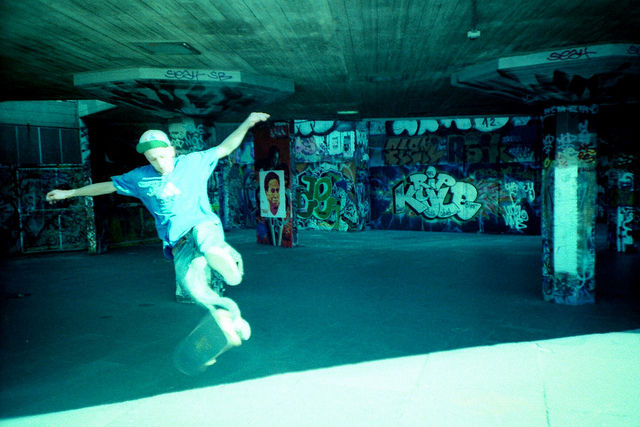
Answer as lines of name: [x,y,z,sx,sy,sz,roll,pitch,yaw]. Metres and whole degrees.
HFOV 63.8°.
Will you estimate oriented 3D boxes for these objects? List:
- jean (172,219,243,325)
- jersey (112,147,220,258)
jean: [-1.605,0.797,8.287,0.597,1.685,1.008,-26,-19,-47]
jersey: [-2.328,-0.113,8.534,2.426,1.589,0.733,-13,9,13]
